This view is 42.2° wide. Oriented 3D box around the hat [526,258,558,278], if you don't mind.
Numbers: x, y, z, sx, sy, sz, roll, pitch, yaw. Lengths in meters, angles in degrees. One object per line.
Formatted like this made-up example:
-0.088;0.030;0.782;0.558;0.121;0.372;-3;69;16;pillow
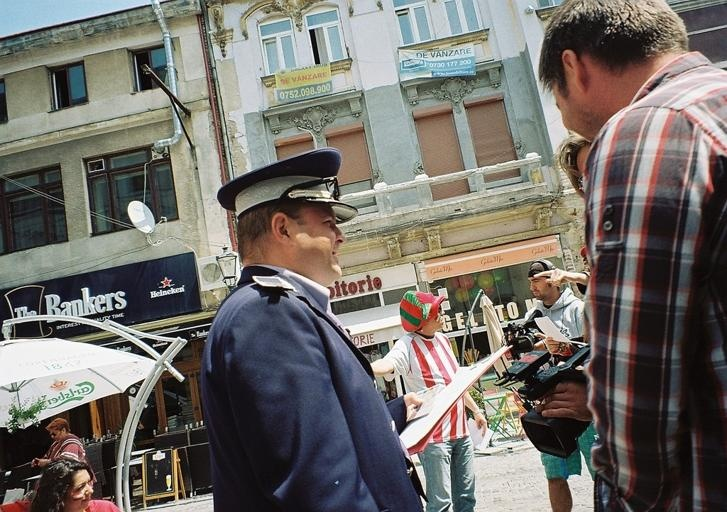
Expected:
2.761;0.181;14.372;0.364;0.184;0.309;22;-24;-40;hat

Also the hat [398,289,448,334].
0.802;0.744;14.324;0.707;0.554;0.496;-30;17;3;hat

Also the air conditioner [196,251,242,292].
-3.589;0.375;23.248;0.968;0.756;0.492;-13;-5;41;air conditioner
